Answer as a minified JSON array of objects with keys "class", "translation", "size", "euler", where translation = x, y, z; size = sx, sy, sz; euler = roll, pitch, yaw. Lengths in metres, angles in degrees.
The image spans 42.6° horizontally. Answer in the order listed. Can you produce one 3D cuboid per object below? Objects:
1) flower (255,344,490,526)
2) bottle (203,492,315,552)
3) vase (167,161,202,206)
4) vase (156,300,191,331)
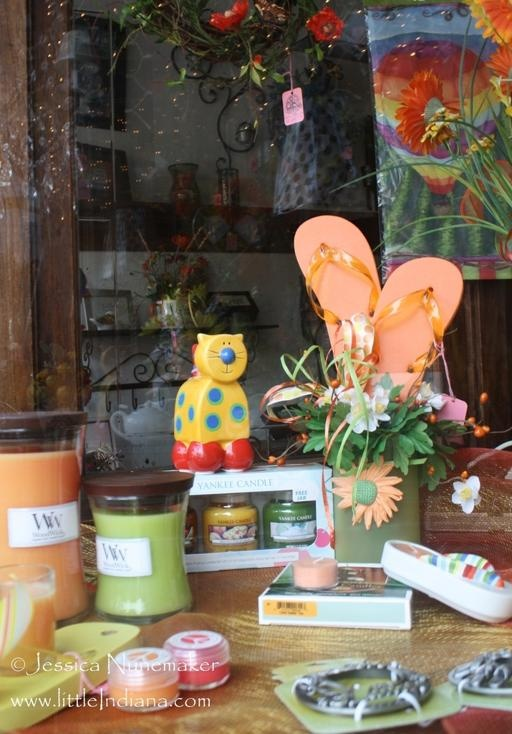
[{"class":"flower","translation":[0.129,0.042,0.694],"size":[0.206,0.093,0.134],"euler":[-2,8,-23]},{"class":"bottle","translation":[0.002,0.171,0.741],"size":[0.122,0.062,0.058],"euler":[-1,-2,-7]},{"class":"vase","translation":[-0.129,-0.323,1.160],"size":[0.078,0.092,0.068],"euler":[-2,3,-6]},{"class":"vase","translation":[-0.144,-0.087,1.126],"size":[0.058,0.052,0.053],"euler":[-2,0,9]}]
